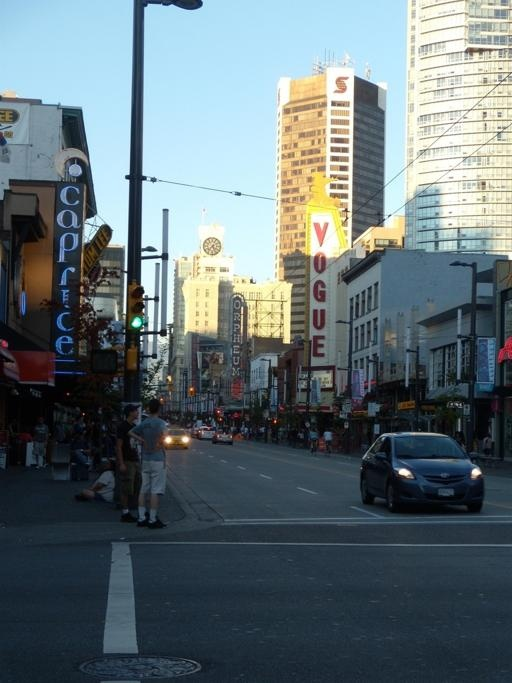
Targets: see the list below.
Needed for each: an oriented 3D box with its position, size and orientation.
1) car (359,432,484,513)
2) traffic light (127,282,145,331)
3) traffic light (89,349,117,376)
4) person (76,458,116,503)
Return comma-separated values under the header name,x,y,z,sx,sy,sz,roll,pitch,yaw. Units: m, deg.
name,x,y,z,sx,sy,sz,roll,pitch,yaw
car,2.647,2.201,17.966,1.095,0.854,2.092,1,-9,-8
traffic light,-1.952,-0.562,17.132,0.258,0.786,0.589,2,-5,-8
traffic light,-2.446,0.308,17.053,0.415,0.397,0.415,2,-5,-12
person,-2.813,2.526,19.140,0.561,0.833,0.600,4,-22,2
